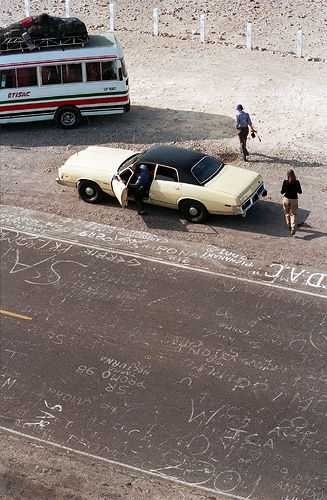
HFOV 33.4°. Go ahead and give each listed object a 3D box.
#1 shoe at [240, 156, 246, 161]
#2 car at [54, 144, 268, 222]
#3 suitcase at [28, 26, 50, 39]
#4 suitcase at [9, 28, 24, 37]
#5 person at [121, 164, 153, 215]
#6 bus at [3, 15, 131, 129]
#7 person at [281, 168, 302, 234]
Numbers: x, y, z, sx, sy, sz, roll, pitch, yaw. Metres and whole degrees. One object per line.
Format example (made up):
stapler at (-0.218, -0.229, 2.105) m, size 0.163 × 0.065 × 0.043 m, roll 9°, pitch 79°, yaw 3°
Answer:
shoe at (2.423, -2.823, 16.645) m, size 0.150 × 0.138 × 0.034 m, roll 2°, pitch -13°, yaw 15°
car at (-0.116, -1.537, 13.561) m, size 4.510 × 1.204 × 2.331 m, roll 15°, pitch 42°, yaw 22°
suitcase at (-4.269, -7.470, 18.651) m, size 0.699 × 0.370 × 0.152 m, roll -4°, pitch 13°, yaw -12°
suitcase at (-5.059, -7.461, 18.623) m, size 0.364 × 0.261 × 0.092 m, roll -5°, pitch -10°, yaw -2°
person at (-0.646, -1.525, 13.157) m, size 0.657 × 1.203 × 0.469 m, roll 13°, pitch 58°, yaw 7°
bus at (-3.522, -6.340, 19.277) m, size 5.342 × 2.732 × 2.716 m, roll 0°, pitch 45°, yaw 0°
person at (2.824, -1.084, 12.155) m, size 0.417 × 1.448 × 0.513 m, roll 1°, pitch 13°, yaw 13°
